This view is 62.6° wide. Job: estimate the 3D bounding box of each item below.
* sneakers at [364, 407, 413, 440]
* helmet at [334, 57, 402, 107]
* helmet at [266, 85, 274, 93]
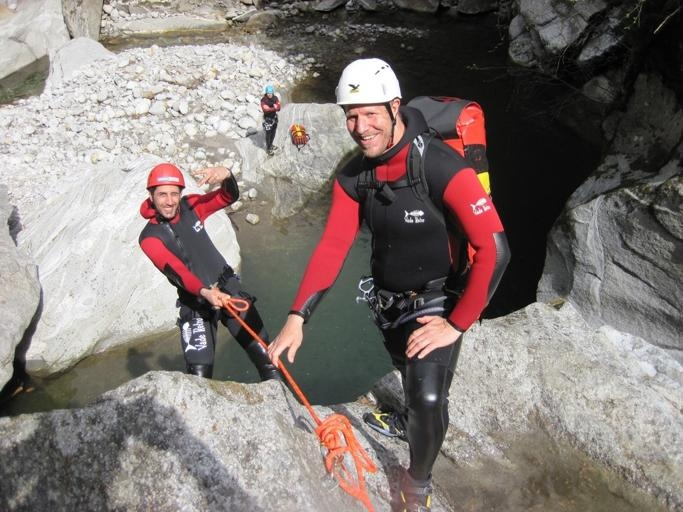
[{"bbox_3d":[0.465,1.686,5.734,0.534,0.202,0.264,25,85,8],"label":"sneakers"},{"bbox_3d":[0.263,-1.562,4.878,0.381,0.292,0.501,10,26,42],"label":"helmet"},{"bbox_3d":[-1.433,-3.348,11.302,0.167,0.171,0.289,0,8,-6],"label":"helmet"}]
